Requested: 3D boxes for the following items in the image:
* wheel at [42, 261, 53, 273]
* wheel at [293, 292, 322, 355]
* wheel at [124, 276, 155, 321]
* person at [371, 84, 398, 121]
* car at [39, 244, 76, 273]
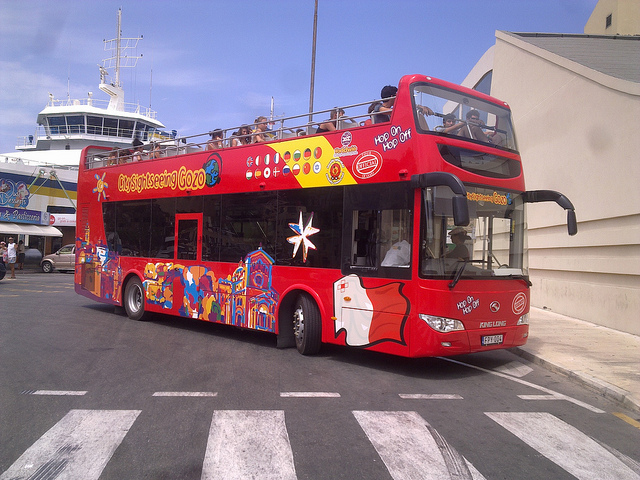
[{"bbox_3d":[-19.594,1.936,33.634,1.126,0.828,0.372,1,2,26],"label":"wheel"},{"bbox_3d":[-0.235,1.686,9.476,0.372,1.393,1.114,2,-3,-14],"label":"wheel"},{"bbox_3d":[-5.208,1.679,13.523,1.119,1.334,0.400,-8,-8,38],"label":"wheel"},{"bbox_3d":[1.211,-2.627,8.872,0.467,0.818,0.942,1,1,6],"label":"person"},{"bbox_3d":[-18.712,1.383,33.680,2.354,1.970,0.892,1,1,13],"label":"car"}]
